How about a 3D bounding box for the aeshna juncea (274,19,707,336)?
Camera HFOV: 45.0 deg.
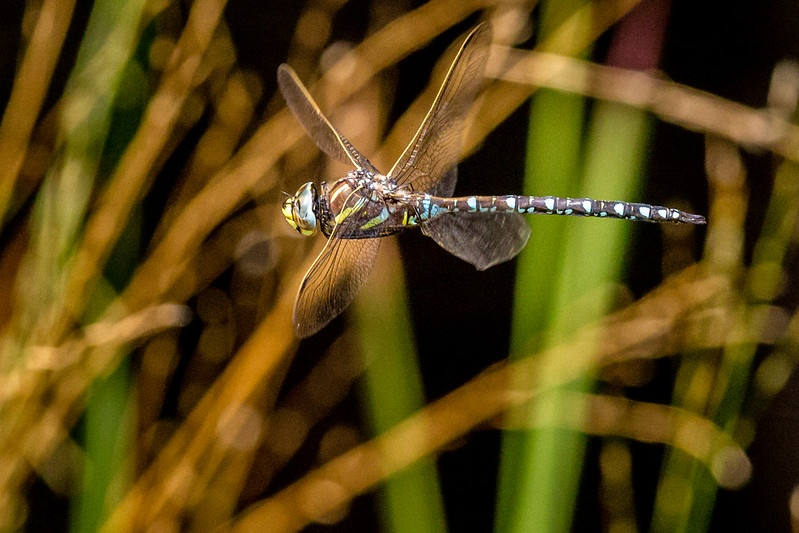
[{"bbox_3d":[0.115,-0.192,2.106,0.772,0.469,0.461,-8,-55,4],"label":"aeshna juncea"}]
